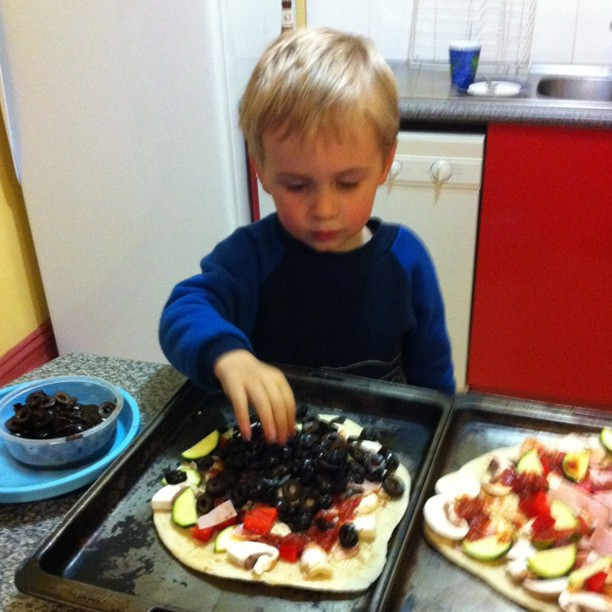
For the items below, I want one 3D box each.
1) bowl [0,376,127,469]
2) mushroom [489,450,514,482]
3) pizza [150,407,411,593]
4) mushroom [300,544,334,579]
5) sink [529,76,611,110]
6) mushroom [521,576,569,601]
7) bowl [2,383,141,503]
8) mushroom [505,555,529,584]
[{"bbox_3d":[-0.346,0.146,0.760,0.138,0.048,0.135,5,18,-2],"label":"bowl"},{"bbox_3d":[0.251,0.208,0.667,0.010,0.028,0.029,42,38,16],"label":"mushroom"},{"bbox_3d":[-0.025,0.220,0.675,0.314,0.057,0.324,10,28,17],"label":"pizza"},{"bbox_3d":[0.012,0.271,0.555,0.036,0.028,0.050,2,27,3],"label":"mushroom"},{"bbox_3d":[1.009,-0.803,1.933,0.329,0.084,0.735,11,28,18],"label":"sink"},{"bbox_3d":[0.235,0.279,0.509,0.030,0.007,0.022,4,12,17],"label":"mushroom"},{"bbox_3d":[-0.343,0.166,0.745,0.176,0.104,0.156,13,25,36],"label":"bowl"},{"bbox_3d":[0.219,0.271,0.533,0.030,0.014,0.020,-19,34,-34],"label":"mushroom"}]
